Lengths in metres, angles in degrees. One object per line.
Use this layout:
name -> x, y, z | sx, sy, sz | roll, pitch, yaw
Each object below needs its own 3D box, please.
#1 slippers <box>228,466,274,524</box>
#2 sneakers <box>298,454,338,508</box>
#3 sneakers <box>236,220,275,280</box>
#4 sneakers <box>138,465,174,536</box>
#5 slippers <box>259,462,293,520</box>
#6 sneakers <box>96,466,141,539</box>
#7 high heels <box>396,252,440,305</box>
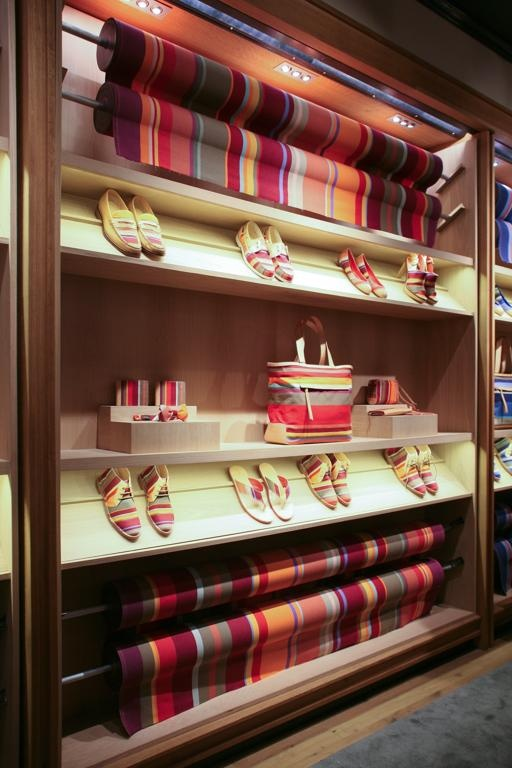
slippers -> -0.025, 0.356, 1.738 | 0.102, 0.066, 0.284 | 13, 15, -36
sneakers -> 0.238, 0.339, 1.910 | 0.080, 0.103, 0.244 | 1, 30, -27
sneakers -> -0.016, -0.445, 1.803 | 0.092, 0.082, 0.236 | -12, 65, -35
sneakers -> -0.275, 0.325, 1.520 | 0.067, 0.084, 0.229 | 8, 33, -33
slippers -> 0.078, 0.359, 1.792 | 0.091, 0.064, 0.272 | 7, 20, -17
sneakers -> -0.371, 0.312, 1.450 | 0.079, 0.091, 0.237 | 5, 37, -45
high heels -> 0.720, -0.456, 2.333 | 0.102, 0.290, 0.098 | -8, -10, -24
